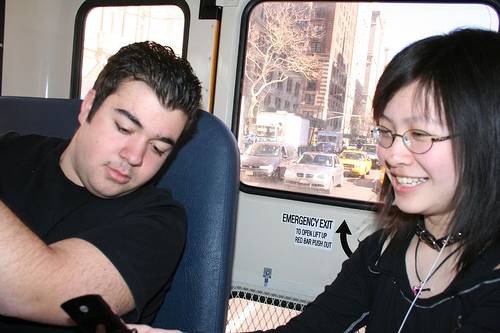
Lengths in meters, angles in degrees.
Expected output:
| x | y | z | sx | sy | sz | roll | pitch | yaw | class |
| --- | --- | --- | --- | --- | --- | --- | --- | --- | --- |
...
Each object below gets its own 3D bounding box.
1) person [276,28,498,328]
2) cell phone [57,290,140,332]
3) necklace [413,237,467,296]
| x | y | z | sx | sy | sz | roll | pitch | yaw | class |
| --- | --- | --- | --- | --- | --- | --- | --- | --- | --- |
| 0.652 | 0.101 | 1.427 | 0.646 | 1.271 | 0.357 | 7 | 9 | 38 | person |
| -0.524 | 0.494 | 1.228 | 0.145 | 0.261 | 0.027 | -17 | 23 | 13 | cell phone |
| 0.763 | 0.393 | 1.441 | 0.008 | 0.315 | 0.095 | 23 | 11 | -41 | necklace |
